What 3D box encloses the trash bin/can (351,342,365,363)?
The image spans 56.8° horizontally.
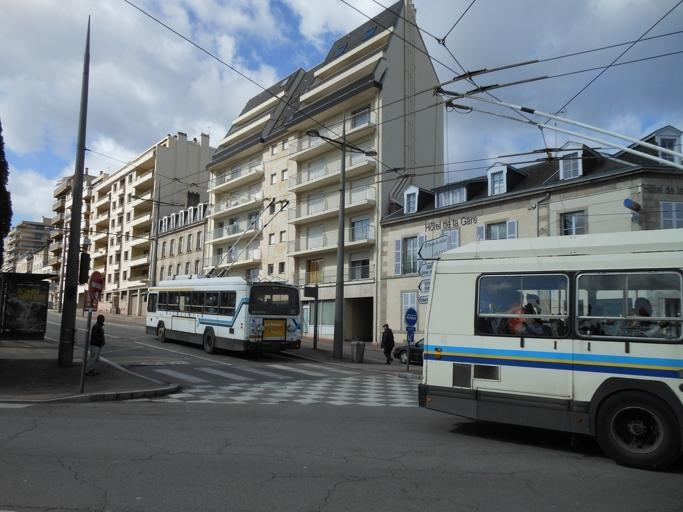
[{"bbox_3d":[0.657,3.900,25.471,0.690,0.959,0.765,-1,-2,1],"label":"trash bin/can"}]

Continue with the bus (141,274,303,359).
[{"bbox_3d":[-5.378,2.564,27.973,2.697,3.065,9.060,6,-6,-36],"label":"bus"}]

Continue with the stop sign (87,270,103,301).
[{"bbox_3d":[-6.106,0.735,15.721,0.295,0.762,0.650,5,-9,-24],"label":"stop sign"}]

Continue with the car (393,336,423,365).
[{"bbox_3d":[2.712,3.958,25.724,0.774,0.638,1.725,5,-3,-29],"label":"car"}]
